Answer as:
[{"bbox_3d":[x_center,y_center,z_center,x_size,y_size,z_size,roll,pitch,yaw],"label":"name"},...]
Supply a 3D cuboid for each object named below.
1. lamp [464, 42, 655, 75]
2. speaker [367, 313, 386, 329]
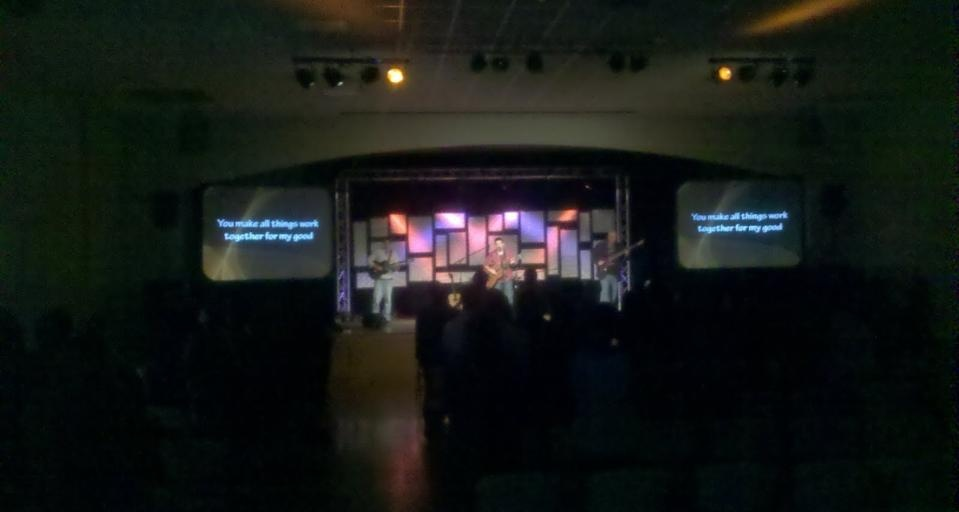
[{"bbox_3d":[0.705,-1.923,9.108,1.927,0.261,0.252,-3,1,-4],"label":"lamp"},{"bbox_3d":[-1.071,0.676,9.813,0.223,0.143,0.090,2,1,-40],"label":"speaker"}]
